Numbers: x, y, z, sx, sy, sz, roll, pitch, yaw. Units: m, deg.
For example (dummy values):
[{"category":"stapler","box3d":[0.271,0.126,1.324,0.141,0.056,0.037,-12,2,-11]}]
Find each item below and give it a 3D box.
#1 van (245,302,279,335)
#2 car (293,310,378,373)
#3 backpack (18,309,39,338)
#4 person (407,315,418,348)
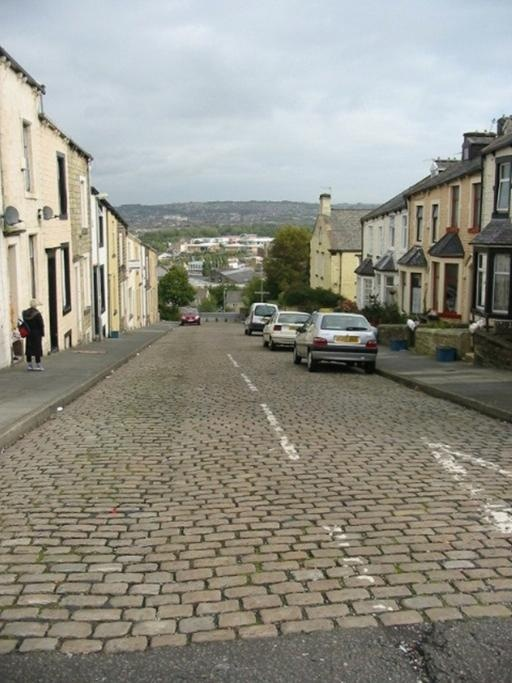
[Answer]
[{"category":"van","box3d":[0.258,-1.326,36.293,1.203,1.128,2.139,-1,11,-5]},{"category":"car","box3d":[1.888,0.027,16.029,1.502,1.364,1.936,0,4,-6]},{"category":"backpack","box3d":[-4.618,-0.378,13.917,0.396,0.594,0.358,-1,4,-16]},{"category":"person","box3d":[5.062,-0.195,22.131,0.367,0.859,1.685,1,4,12]}]
